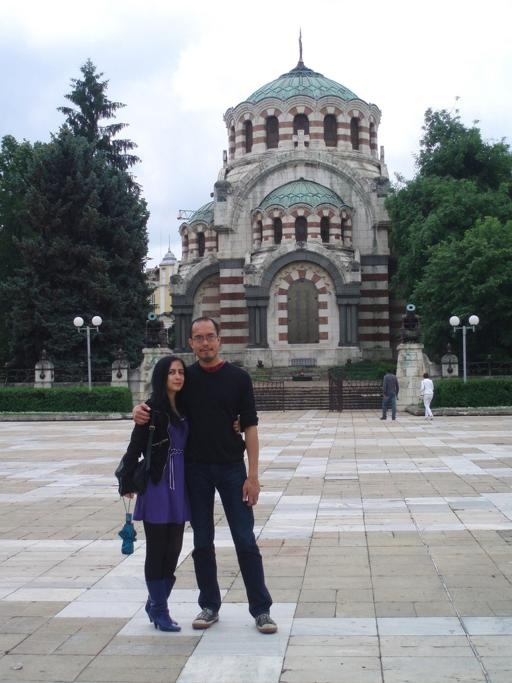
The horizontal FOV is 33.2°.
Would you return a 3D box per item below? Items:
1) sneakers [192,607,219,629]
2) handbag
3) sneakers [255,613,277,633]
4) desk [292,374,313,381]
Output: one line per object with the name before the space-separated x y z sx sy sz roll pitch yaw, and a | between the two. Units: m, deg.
sneakers | -0.320 1.812 5.667 0.111 0.104 0.270 -2 -1 21
handbag | -0.766 0.768 5.761 0.197 0.489 0.310 19 -5 39
sneakers | 0.064 1.796 5.474 0.152 0.102 0.116 -2 -1 11
desk | 2.126 1.597 38.958 0.923 0.291 1.169 -2 -1 10
